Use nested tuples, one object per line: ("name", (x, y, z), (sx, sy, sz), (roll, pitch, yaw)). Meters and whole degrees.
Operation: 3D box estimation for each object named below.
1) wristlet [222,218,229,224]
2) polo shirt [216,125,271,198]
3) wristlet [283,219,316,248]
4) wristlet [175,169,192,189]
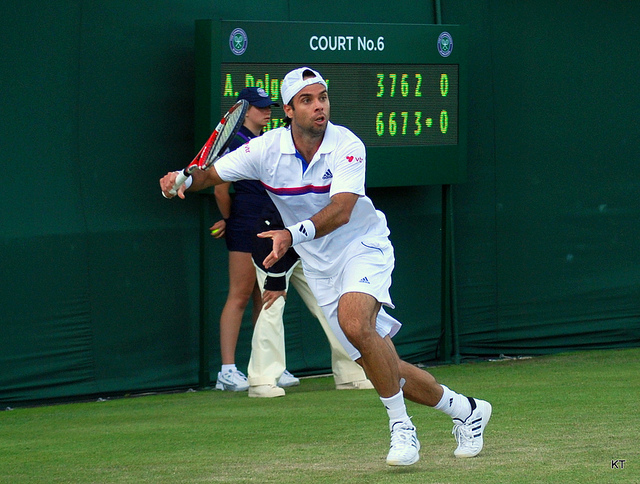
("wristlet", (-0.775, -0.176, 6.456), (0.049, 0.035, 0.047), (0, -3, -2))
("polo shirt", (-0.595, -0.605, 6.275), (0.389, 0.565, 0.364), (2, 20, -18))
("wristlet", (-0.105, -0.053, 4.120), (0.121, 0.110, 0.147), (-22, -10, 5))
("wristlet", (-0.798, -0.368, 4.711), (0.079, 0.113, 0.072), (-4, 0, -5))
